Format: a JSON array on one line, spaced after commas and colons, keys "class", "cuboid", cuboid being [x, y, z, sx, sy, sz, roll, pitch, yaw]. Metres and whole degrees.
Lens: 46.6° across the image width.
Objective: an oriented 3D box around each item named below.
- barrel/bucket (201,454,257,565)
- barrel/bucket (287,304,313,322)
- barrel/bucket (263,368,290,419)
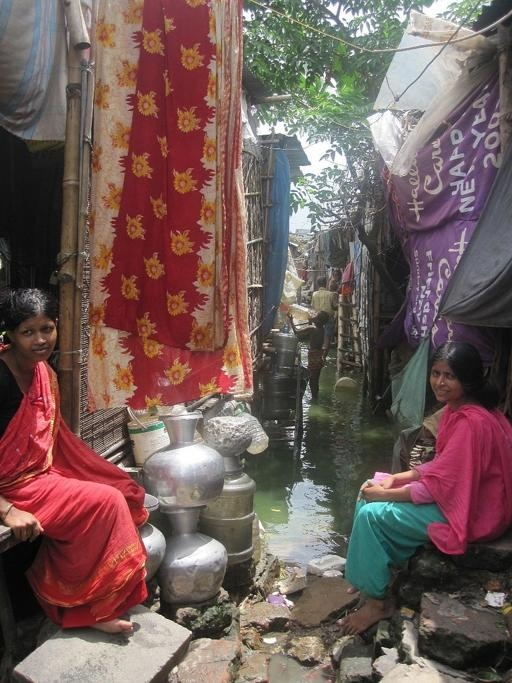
[{"class": "barrel/bucket", "cuboid": [-0.169, 1.091, 3.853, 0.372, 0.666, 0.228, -2, 4, -19]}, {"class": "barrel/bucket", "cuboid": [0.812, -0.504, 10.633, 0.355, 0.189, 0.451, 18, -2, 21]}, {"class": "barrel/bucket", "cuboid": [0.300, 0.792, 8.299, 0.350, 0.618, 0.130, 0, 4, 0]}]
